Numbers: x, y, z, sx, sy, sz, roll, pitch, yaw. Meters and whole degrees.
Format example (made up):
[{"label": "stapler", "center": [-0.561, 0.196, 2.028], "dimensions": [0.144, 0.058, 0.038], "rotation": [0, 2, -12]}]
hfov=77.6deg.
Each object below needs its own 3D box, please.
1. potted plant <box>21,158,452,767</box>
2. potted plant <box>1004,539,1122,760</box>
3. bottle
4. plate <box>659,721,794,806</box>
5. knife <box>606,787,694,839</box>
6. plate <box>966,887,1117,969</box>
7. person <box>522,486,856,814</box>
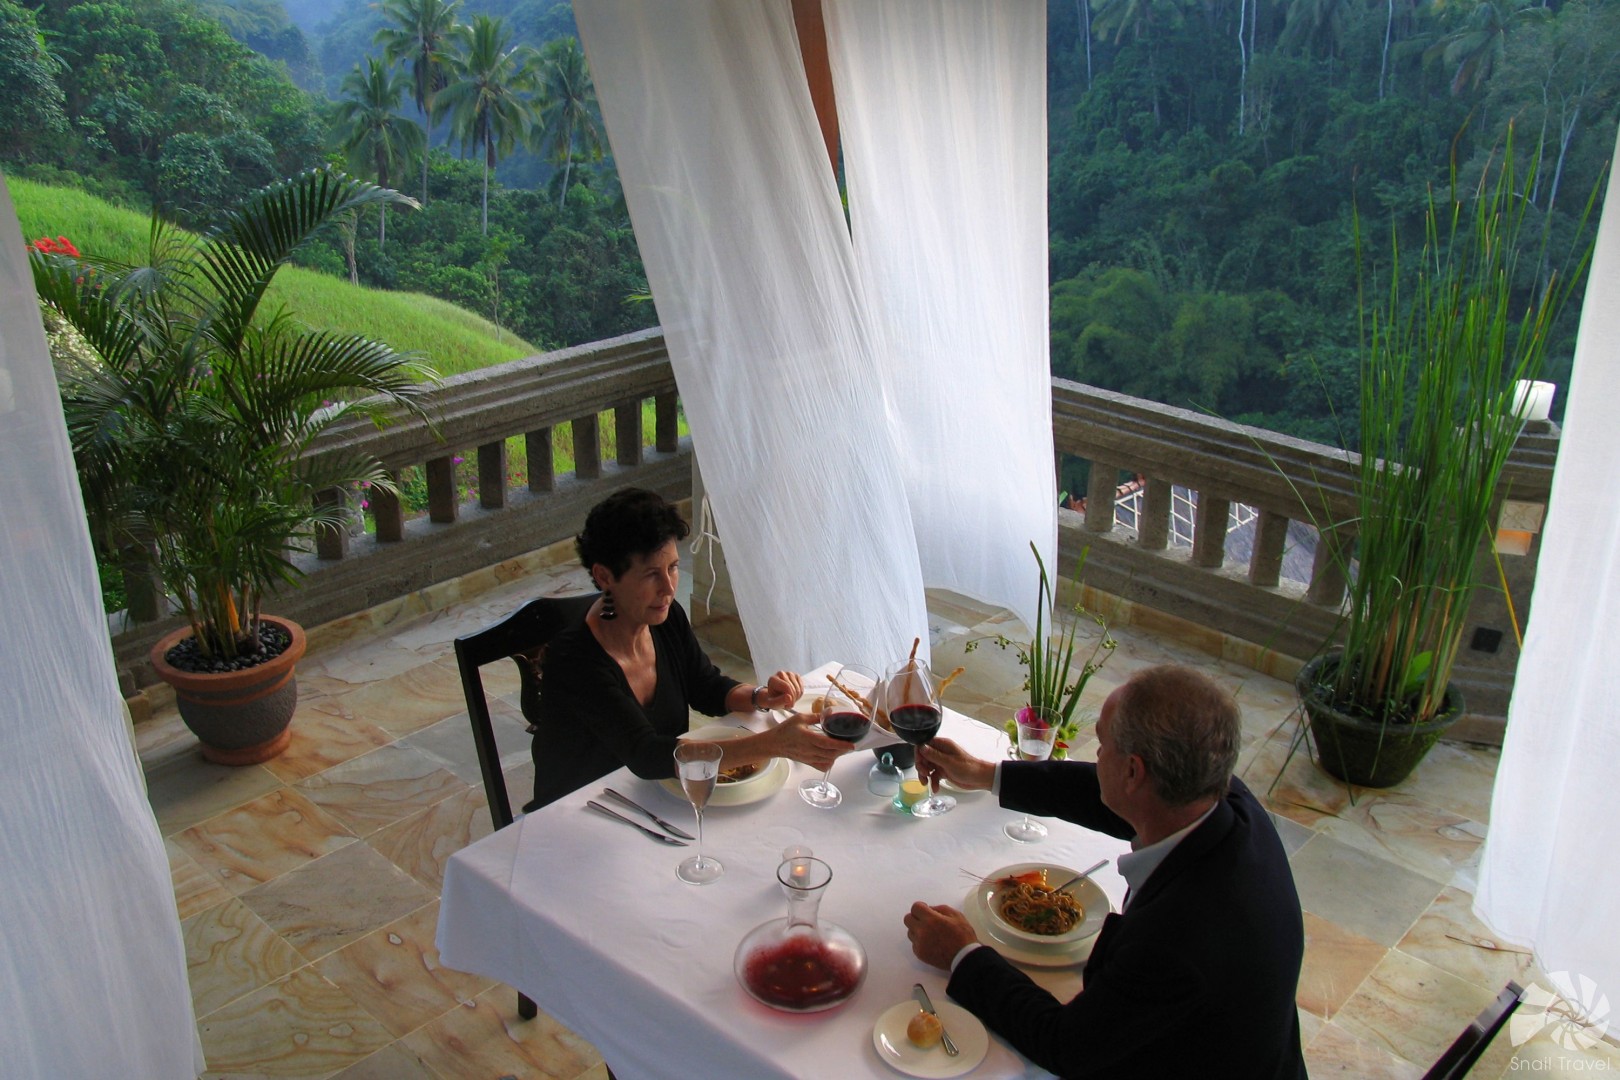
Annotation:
[{"label": "potted plant", "center": [-2.010, -0.281, 3.615], "dimensions": [1.048, 1.928, 0.915], "rotation": [-16, 24, -35]}, {"label": "potted plant", "center": [0.838, 0.350, 3.358], "dimensions": [0.325, 0.698, 0.399], "rotation": [29, 47, 35]}, {"label": "bottle", "center": [-0.027, 0.745, 1.826], "dimensions": [0.228, 0.246, 0.241], "rotation": [-5, 24, -12]}, {"label": "plate", "center": [-0.171, 0.495, 2.204], "dimensions": [0.177, 0.051, 0.193], "rotation": [0, 33, 3]}, {"label": "knife", "center": [-0.338, 0.584, 2.141], "dimensions": [0.180, 0.021, 0.035], "rotation": [33, 35, 25]}, {"label": "plate", "center": [0.426, 0.749, 1.899], "dimensions": [0.149, 0.035, 0.159], "rotation": [7, 31, 18]}, {"label": "person", "center": [-0.280, 0.293, 2.717], "dimensions": [0.781, 1.212, 0.402], "rotation": [5, 32, 15]}]
